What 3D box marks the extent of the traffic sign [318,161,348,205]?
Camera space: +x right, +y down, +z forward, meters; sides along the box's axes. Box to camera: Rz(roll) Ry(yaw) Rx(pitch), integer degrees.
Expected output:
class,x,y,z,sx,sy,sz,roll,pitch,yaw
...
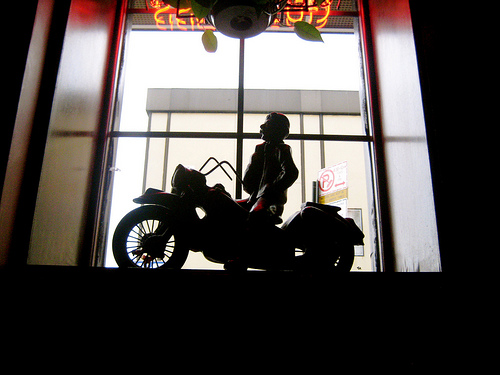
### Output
class,x,y,z,sx,sy,sz,roll,pitch,yaw
traffic sign,0.638,-0.038,3.536,0.307,0.430,0.020,-2,-3,28

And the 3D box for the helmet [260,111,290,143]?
class,x,y,z,sx,sy,sz,roll,pitch,yaw
helmet,0.136,-0.339,2.657,0.165,0.197,0.145,7,-15,12
